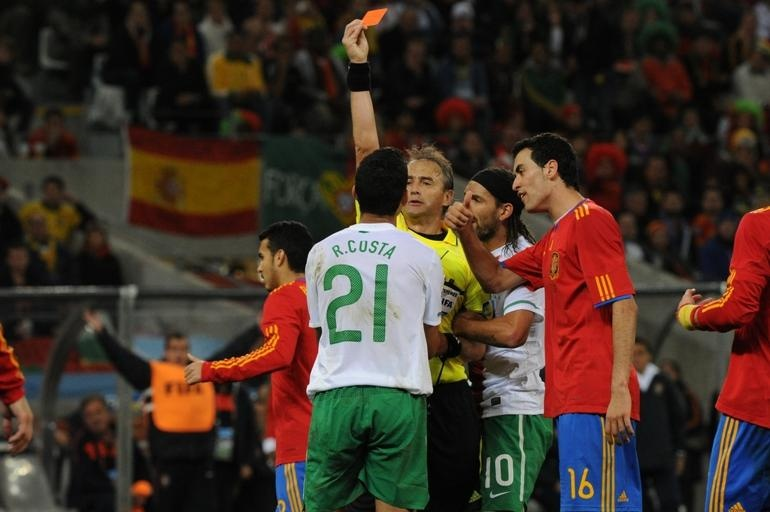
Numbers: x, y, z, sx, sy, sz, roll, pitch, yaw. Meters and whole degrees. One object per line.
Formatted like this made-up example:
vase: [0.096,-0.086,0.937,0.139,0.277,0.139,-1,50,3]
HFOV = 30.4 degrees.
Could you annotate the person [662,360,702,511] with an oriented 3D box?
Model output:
person: [4.062,2.564,19.348,0.586,2.062,0.760,3,-41,10]
